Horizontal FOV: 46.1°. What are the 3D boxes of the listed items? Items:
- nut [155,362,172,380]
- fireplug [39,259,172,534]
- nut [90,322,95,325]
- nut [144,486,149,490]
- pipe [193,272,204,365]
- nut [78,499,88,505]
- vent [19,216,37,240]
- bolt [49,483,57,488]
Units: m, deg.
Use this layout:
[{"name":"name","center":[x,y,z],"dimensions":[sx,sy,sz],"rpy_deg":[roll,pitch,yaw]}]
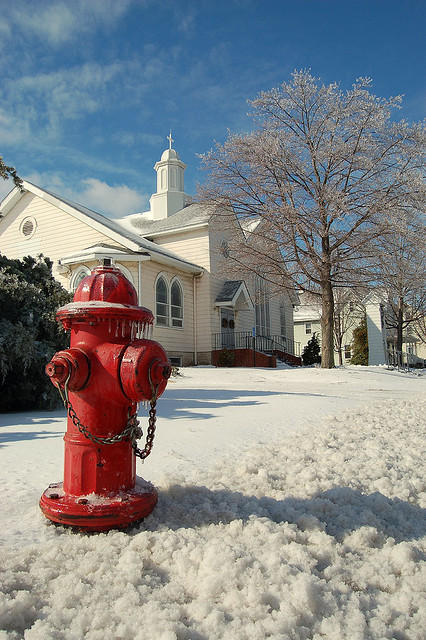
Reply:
[{"name":"nut","center":[-0.243,0.270,2.593],"dimensions":[0.085,0.087,0.073],"rpy_deg":[-10,-5,32]},{"name":"fireplug","center":[-0.585,0.370,2.722],"dimensions":[0.634,1.457,0.573],"rpy_deg":[2,-6,-19]},{"name":"nut","center":[-0.651,0.022,2.696],"dimensions":[0.030,0.018,0.022],"rpy_deg":[-1,1,2]},{"name":"nut","center":[-0.371,0.953,2.826],"dimensions":[0.016,0.016,0.009],"rpy_deg":[-1,-5,19]},{"name":"pipe","center":[-0.666,-0.001,20.399],"dimensions":[0.279,3.626,0.358],"rpy_deg":[1,-6,-7]},{"name":"nut","center":[-0.658,0.915,2.514],"dimensions":[0.044,0.016,0.041],"rpy_deg":[2,-6,-14]},{"name":"vent","center":[-7.240,-3.555,19.582],"dimensions":[0.914,1.168,0.095],"rpy_deg":[1,-2,33]},{"name":"bolt","center":[-0.915,0.942,2.852],"dimensions":[0.026,0.013,0.036],"rpy_deg":[-1,-4,-6]}]
